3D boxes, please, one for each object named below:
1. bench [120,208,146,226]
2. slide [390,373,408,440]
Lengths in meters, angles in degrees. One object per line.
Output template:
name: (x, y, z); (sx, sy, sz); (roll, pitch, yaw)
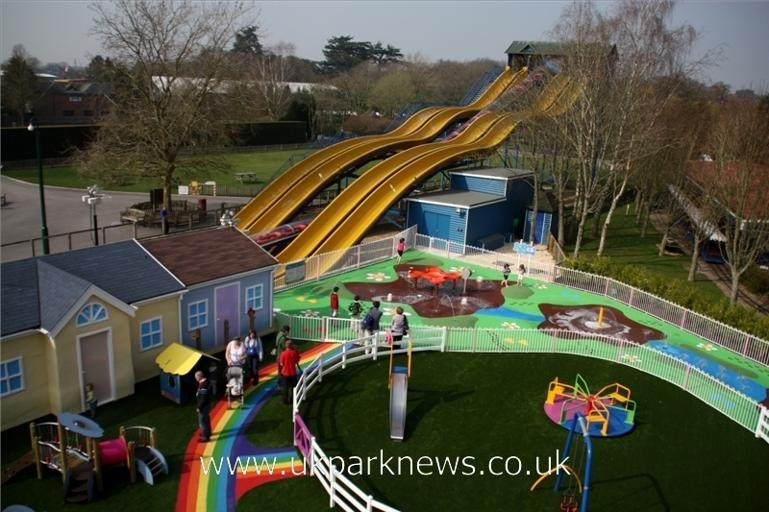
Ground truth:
bench: (-18.598, -2.947, 43.415); (2.290, 1.029, 1.299); (18, 22, 40)
slide: (0.566, 5.756, 22.767); (0.585, 0.701, 2.378); (-1, 51, 5)
